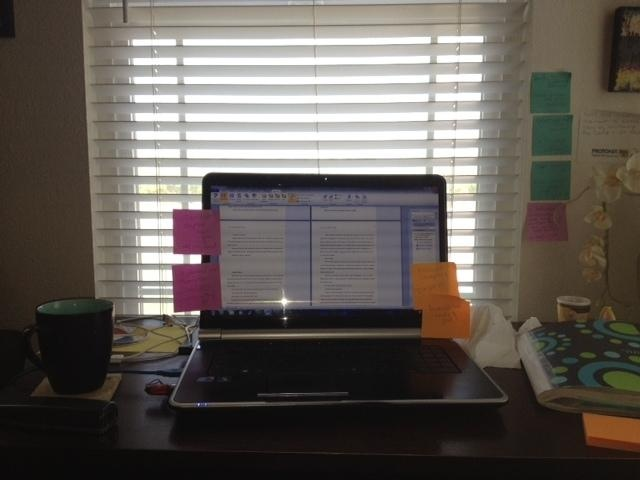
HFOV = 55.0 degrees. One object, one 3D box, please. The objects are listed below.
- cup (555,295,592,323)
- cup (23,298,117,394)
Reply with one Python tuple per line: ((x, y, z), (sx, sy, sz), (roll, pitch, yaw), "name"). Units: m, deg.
((0.675, 0.180, 1.652), (0.089, 0.059, 0.078), (2, -1, 25), "cup")
((-0.539, 0.236, 1.437), (0.231, 0.204, 0.177), (-1, 5, -13), "cup")
